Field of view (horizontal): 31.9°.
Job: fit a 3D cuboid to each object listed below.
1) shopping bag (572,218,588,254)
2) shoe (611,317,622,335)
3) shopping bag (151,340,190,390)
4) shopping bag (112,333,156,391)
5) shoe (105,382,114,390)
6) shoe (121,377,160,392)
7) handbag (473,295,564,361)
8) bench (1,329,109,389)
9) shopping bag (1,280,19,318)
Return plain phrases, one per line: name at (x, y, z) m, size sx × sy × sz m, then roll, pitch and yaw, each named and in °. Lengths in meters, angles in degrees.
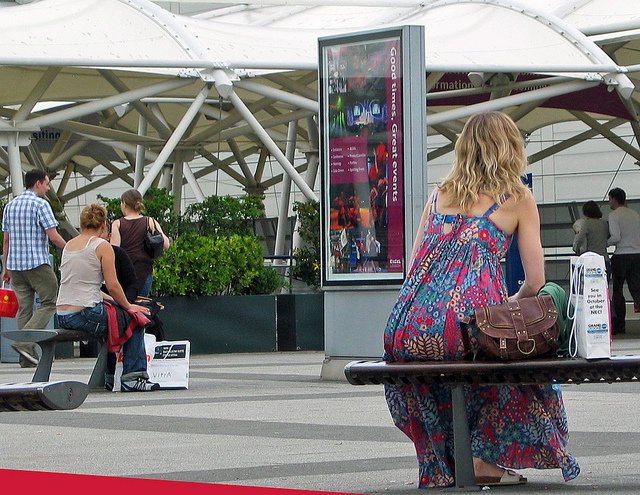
shopping bag at (4.378, -0.181, 18.919) m, size 0.205 × 0.626 × 0.488 m, roll 4°, pitch -11°, yaw 10°
shoe at (5.167, 1.378, 19.565) m, size 0.163 × 0.298 × 0.350 m, roll -1°, pitch -3°, yaw 12°
shopping bag at (-1.452, 1.123, 10.904) m, size 0.459 × 0.418 × 0.490 m, roll -2°, pitch 7°, yaw -18°
shopping bag at (-1.734, 1.128, 10.861) m, size 0.464 × 0.749 × 0.486 m, roll 3°, pitch -11°, yaw -7°
shoe at (-2.042, 1.350, 10.885) m, size 0.072 × 0.035 × 0.105 m, roll 4°, pitch -3°, yaw -2°
shoe at (-1.709, 1.308, 10.724) m, size 0.371 × 0.172 × 0.123 m, roll -2°, pitch 0°, yaw -10°
handbag at (1.023, 0.415, 5.785) m, size 0.443 × 0.336 × 0.149 m, roll 1°, pitch -3°, yaw -18°
bench at (-2.335, 0.995, 10.111) m, size 0.432 × 0.564 × 2.049 m, roll 1°, pitch -2°, yaw 21°
shopping bag at (-2.973, 0.535, 10.719) m, size 0.146 × 0.264 × 0.398 m, roll 1°, pitch -3°, yaw -16°
